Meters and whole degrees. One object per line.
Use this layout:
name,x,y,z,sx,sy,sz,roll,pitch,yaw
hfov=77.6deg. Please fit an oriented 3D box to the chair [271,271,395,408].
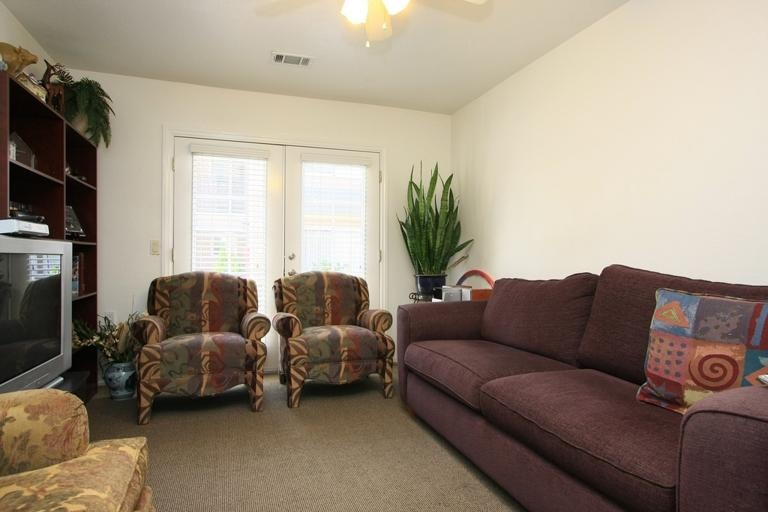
chair,-0.491,0.709,4.516,1.033,1.163,1.224,-1,-5,-6

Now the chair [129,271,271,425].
chair,-1.576,0.704,4.130,1.070,1.240,0.985,0,-6,-16
